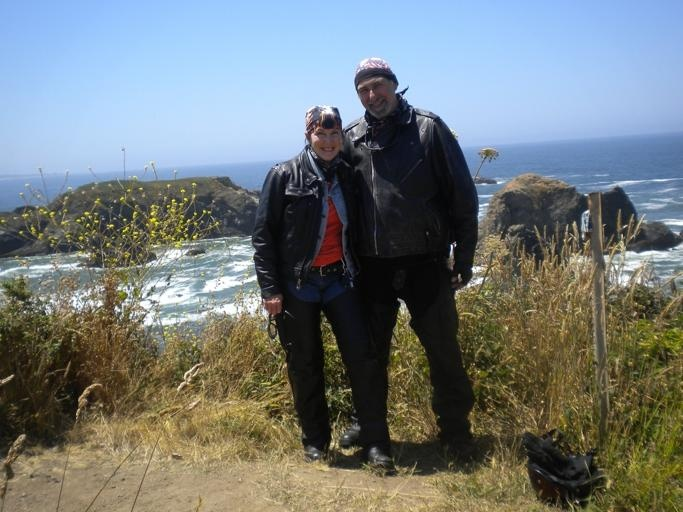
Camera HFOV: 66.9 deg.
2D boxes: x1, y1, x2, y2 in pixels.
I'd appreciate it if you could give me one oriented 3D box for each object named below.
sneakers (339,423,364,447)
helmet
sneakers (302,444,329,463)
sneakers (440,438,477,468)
[{"bbox_3d":[0.085,1.669,4.846,0.200,0.130,0.300,1,41,5],"label":"sneakers"},{"bbox_3d":[1.579,1.522,3.658,0.442,0.217,0.437,8,18,-12],"label":"helmet"},{"bbox_3d":[-0.206,1.731,4.499,0.104,0.145,0.200,6,-26,-22],"label":"sneakers"},{"bbox_3d":[1.052,1.717,4.526,0.188,0.242,0.121,9,25,2],"label":"sneakers"}]
